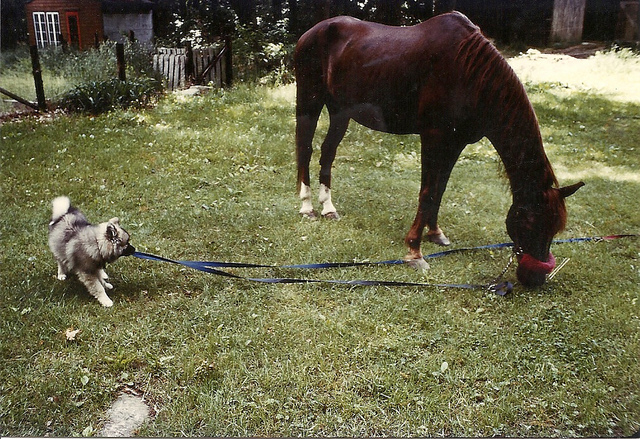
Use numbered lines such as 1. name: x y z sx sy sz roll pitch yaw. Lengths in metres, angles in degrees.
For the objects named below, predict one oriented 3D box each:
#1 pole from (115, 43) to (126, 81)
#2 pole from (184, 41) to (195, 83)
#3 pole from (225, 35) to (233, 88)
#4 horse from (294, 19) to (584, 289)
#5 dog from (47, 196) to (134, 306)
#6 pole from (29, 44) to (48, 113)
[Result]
1. pole: -1.839 -1.461 5.537 0.072 0.334 0.036 -6 21 -18
2. pole: -1.218 -1.469 5.558 0.088 0.363 0.047 -2 20 -8
3. pole: -0.848 -1.481 5.582 0.072 0.454 0.056 -3 20 -9
4. horse: 1.175 -0.570 5.383 3.192 2.320 0.920 18 34 29
5. dog: -2.068 0.269 5.270 1.047 0.799 0.381 8 12 25
6. pole: -2.629 -1.317 5.582 0.078 0.595 0.167 -8 22 -22
